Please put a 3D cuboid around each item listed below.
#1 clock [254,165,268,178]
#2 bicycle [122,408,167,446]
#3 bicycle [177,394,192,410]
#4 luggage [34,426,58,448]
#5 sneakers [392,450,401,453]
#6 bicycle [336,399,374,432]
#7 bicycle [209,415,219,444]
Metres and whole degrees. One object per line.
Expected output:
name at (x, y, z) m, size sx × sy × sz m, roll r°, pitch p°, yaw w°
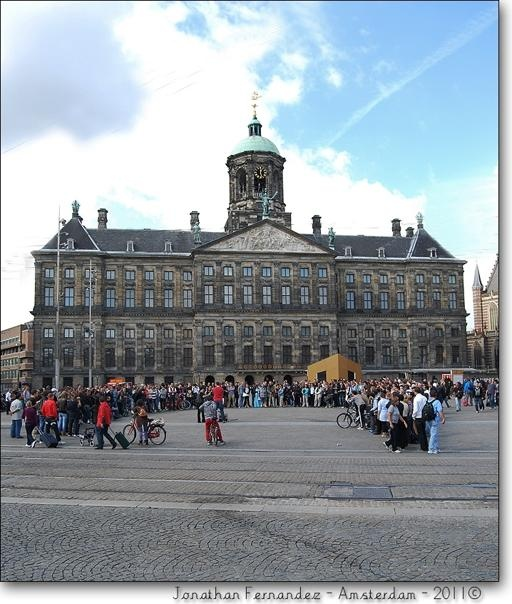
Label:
clock at (0.354, -11.700, 76.797) m, size 1.175 × 0.934 × 0.531 m, roll -2°, pitch -2°, yaw 0°
bicycle at (-3.308, 3.848, 25.478) m, size 1.674 × 1.260 × 0.994 m, roll 7°, pitch -16°, yaw -21°
bicycle at (-4.383, 6.045, 51.185) m, size 0.893 × 0.646 × 0.493 m, roll -5°, pitch 0°, yaw 23°
luggage at (-6.167, 3.968, 24.962) m, size 0.690 × 0.462 × 0.480 m, roll 12°, pitch 11°, yaw 18°
sneakers at (3.668, 3.890, 22.108) m, size 0.152 × 0.081 × 0.063 m, roll 1°, pitch 5°, yaw 8°
bicycle at (3.625, 4.252, 31.515) m, size 0.916 × 1.230 × 1.749 m, roll 5°, pitch -7°, yaw -44°
bicycle at (-1.236, 3.742, 24.526) m, size 0.256 × 0.750 × 0.725 m, roll -1°, pitch -2°, yaw -4°
